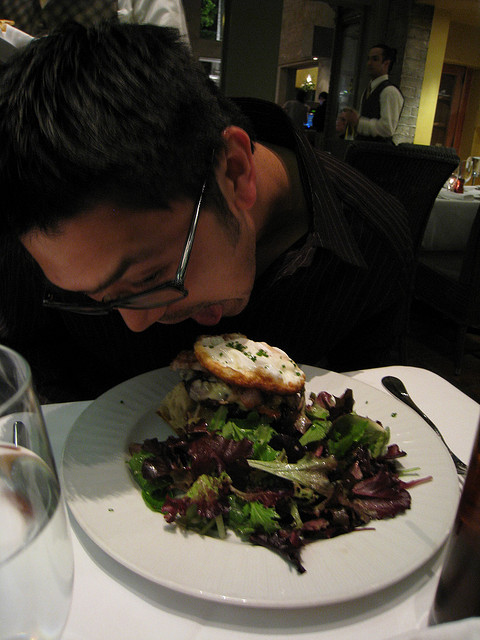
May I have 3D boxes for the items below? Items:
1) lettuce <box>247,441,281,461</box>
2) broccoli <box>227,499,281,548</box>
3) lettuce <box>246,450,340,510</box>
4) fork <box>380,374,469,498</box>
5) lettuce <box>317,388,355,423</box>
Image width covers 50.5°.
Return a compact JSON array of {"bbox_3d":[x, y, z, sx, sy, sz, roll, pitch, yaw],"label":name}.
[{"bbox_3d":[0.038,0.210,0.803,0.043,0.013,0.033,-13,20,-37],"label":"lettuce"},{"bbox_3d":[0.021,0.286,0.695,0.067,0.040,0.020,6,-13,37],"label":"broccoli"},{"bbox_3d":[0.105,0.230,0.767,0.139,0.044,0.166,10,4,-39],"label":"lettuce"},{"bbox_3d":[0.366,0.187,1.031,0.259,0.031,0.029,43,17,-21],"label":"fork"},{"bbox_3d":[0.176,0.155,0.916,0.059,0.058,0.024,17,49,-15],"label":"lettuce"}]
